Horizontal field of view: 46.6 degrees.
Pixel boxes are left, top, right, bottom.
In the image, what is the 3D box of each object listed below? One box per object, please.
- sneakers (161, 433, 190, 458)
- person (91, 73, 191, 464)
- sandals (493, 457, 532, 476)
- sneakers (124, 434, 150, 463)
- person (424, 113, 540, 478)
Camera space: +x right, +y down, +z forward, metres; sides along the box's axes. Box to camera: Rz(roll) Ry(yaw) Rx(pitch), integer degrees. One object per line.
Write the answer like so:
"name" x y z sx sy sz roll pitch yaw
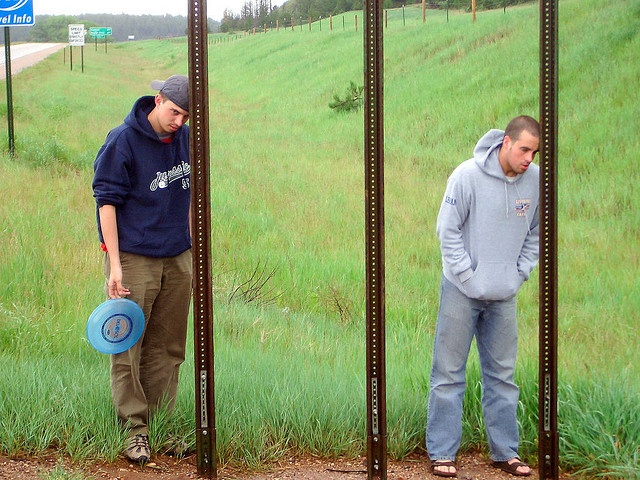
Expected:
"sneakers" -1.086 1.573 5.608 0.175 0.167 0.083 7 -23 -34
"person" -1.238 0.226 5.448 0.717 2.769 0.350 -6 10 -21
"sandals" 1.433 1.694 5.506 0.120 0.097 0.258 -2 -1 -44
"sneakers" -1.337 1.533 5.445 0.105 0.149 0.276 2 -3 -25
"person" 1.192 0.438 5.473 0.884 2.611 0.463 -2 9 1
